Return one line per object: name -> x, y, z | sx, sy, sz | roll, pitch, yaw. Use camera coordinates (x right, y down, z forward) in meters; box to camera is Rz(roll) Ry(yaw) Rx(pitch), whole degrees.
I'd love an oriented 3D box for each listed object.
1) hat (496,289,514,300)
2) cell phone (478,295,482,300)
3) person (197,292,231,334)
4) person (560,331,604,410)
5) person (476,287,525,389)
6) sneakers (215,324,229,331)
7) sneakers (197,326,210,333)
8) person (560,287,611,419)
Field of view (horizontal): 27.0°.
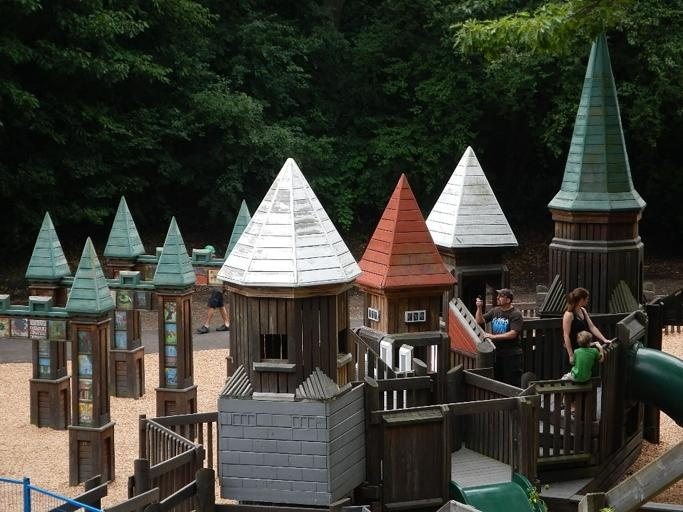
hat -> 3.690, 0.856, 31.723 | 0.307, 0.161, 0.222 | 16, 5, 5
cell phone -> 3.234, 0.977, 32.931 | 0.158, 0.066, 0.286 | 2, -7, 2
person -> -3.691, 1.749, 41.813 | 0.856, 0.356, 1.491 | -5, -22, -9
person -> 5.359, 2.459, 31.017 | 0.611, 1.657, 1.098 | -1, 4, 42
person -> 3.621, 1.845, 31.973 | 1.019, 2.175, 0.935 | -4, 3, 2
sneakers -> -3.445, 2.133, 41.611 | 0.400, 0.176, 0.169 | 2, -1, 6
sneakers -> -3.944, 2.178, 41.260 | 0.171, 0.125, 0.305 | 4, -4, 29
person -> 5.455, 1.966, 31.862 | 1.139, 2.461, 0.822 | -11, 27, -22
